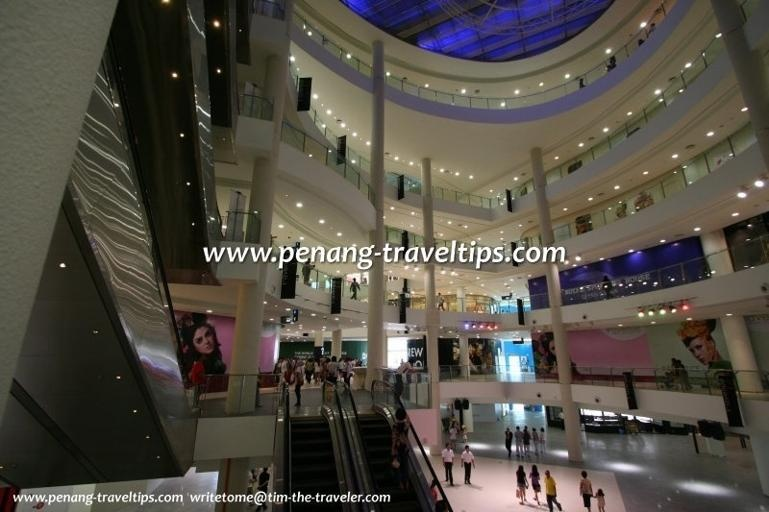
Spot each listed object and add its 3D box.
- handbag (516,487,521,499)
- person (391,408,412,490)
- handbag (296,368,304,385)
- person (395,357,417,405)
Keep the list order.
[{"bbox_3d":[4.892,8.545,16.461,0.136,0.362,0.554,-4,-16,13],"label":"handbag"},{"bbox_3d":[0.375,4.621,10.638,0.393,1.502,0.461,-1,-16,2],"label":"person"},{"bbox_3d":[-2.841,3.983,15.178,0.235,0.526,0.692,5,-17,-19],"label":"handbag"},{"bbox_3d":[0.760,4.257,15.410,0.671,1.892,0.639,5,0,-27],"label":"person"}]
